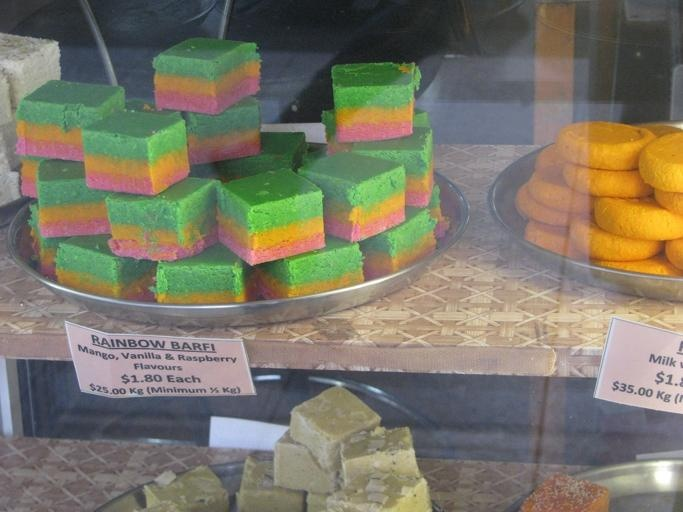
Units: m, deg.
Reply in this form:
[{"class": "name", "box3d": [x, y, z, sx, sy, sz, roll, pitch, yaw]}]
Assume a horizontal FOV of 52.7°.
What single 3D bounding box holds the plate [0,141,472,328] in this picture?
[{"class": "plate", "box3d": [-0.182, -0.006, 1.337, 0.945, 0.145, 0.436, -4, 21, -5]}]
